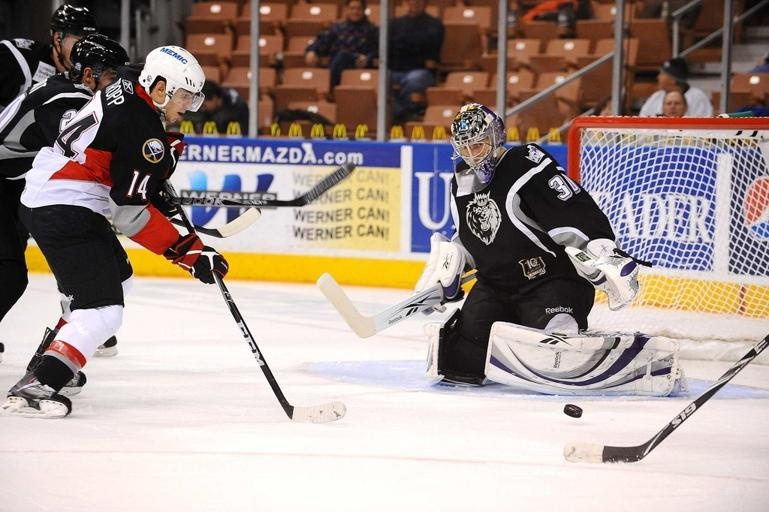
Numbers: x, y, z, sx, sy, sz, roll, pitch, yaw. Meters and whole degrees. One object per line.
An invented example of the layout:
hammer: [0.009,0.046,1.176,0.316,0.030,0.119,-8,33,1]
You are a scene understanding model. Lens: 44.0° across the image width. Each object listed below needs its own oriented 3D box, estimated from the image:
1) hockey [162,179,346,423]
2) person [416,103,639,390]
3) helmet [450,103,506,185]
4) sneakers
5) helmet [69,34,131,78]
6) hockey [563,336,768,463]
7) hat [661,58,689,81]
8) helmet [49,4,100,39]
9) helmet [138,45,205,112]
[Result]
hockey: [-0.690,0.251,5.315,0.613,0.092,2.107,-19,59,-13]
person: [0.701,-0.035,4.372,0.855,1.300,0.438,3,14,12]
helmet: [0.440,-0.523,4.420,0.229,0.364,0.203,2,13,10]
sneakers: [-1.426,0.543,4.220,0.286,0.123,0.340,10,44,14]
helmet: [-1.325,-0.957,4.499,0.279,0.230,0.216,-3,16,-11]
hockey: [1.118,0.579,3.779,0.852,0.368,0.221,-7,15,-33]
hat: [2.142,-1.371,6.960,0.201,0.139,0.146,-16,27,-41]
helmet: [-1.542,-1.165,4.756,0.199,0.163,0.167,-6,5,26]
helmet: [-0.895,-0.793,4.210,0.339,0.268,0.239,0,27,-8]
